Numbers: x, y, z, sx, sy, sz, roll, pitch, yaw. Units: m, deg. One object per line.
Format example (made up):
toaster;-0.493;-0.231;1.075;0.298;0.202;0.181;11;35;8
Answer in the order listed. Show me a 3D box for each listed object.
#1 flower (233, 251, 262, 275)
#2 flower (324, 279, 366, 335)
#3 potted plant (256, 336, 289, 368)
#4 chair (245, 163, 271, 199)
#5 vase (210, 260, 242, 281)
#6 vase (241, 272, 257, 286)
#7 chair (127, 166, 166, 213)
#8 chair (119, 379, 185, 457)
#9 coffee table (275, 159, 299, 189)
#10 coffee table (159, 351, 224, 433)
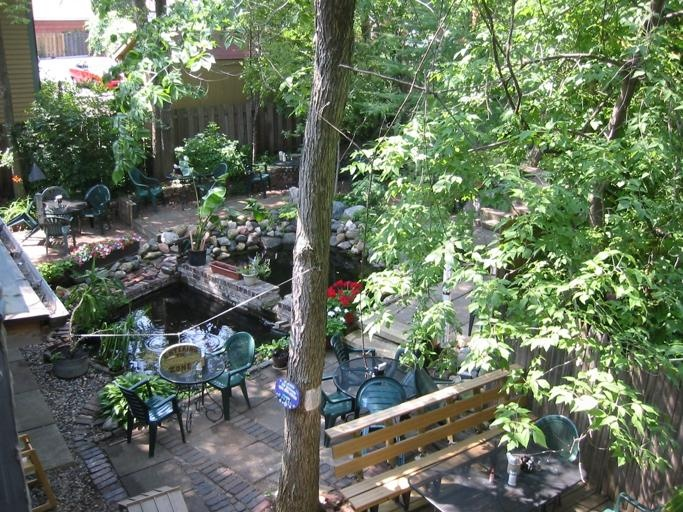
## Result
flower;-1.967;0.258;12.208;0.513;0.338;0.542;-3;39;6
flower;0.026;0.813;10.067;0.860;0.473;0.901;-9;58;-7
potted plant;-1.193;1.672;9.641;0.538;0.413;0.542;-1;8;-3
chair;-2.531;-2.334;16.995;0.885;1.401;0.936;-1;24;-3
vase;-2.506;0.286;12.049;0.885;0.254;0.211;16;23;33
vase;-1.914;0.456;11.602;0.235;0.180;0.238;8;18;27
chair;-5.220;-1.837;14.941;0.763;1.165;1.087;-3;20;-17
chair;-2.694;2.319;7.826;0.565;0.824;0.572;-22;34;-40
coffee table;-1.703;-2.584;17.401;0.691;1.038;1.520;1;20;-7
coffee table;-2.162;1.988;8.011;1.073;0.856;0.933;-5;30;-23
